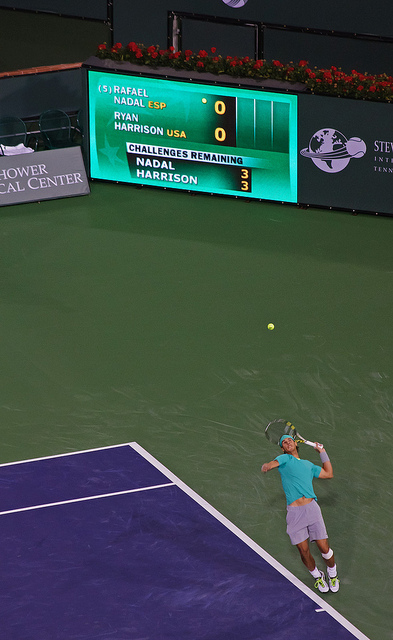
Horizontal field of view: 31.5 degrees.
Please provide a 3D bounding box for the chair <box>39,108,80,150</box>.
[{"bbox_3d":[-3.379,-4.606,17.444,1.000,1.269,0.908,-11,27,-20],"label":"chair"}]

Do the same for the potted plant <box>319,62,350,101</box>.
[{"bbox_3d":[2.790,-4.881,14.299,0.495,0.691,0.673,-1,14,-11],"label":"potted plant"}]

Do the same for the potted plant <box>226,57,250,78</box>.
[{"bbox_3d":[0.878,-5.455,15.089,0.512,0.463,0.245,0,-14,-1],"label":"potted plant"}]

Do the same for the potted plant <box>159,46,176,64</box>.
[{"bbox_3d":[-0.645,-5.937,15.555,0.330,0.421,0.696,1,14,-3],"label":"potted plant"}]

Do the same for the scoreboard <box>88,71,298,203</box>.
[{"bbox_3d":[0.017,-4.034,15.564,5.390,2.362,0.495,-1,9,-26],"label":"scoreboard"}]
